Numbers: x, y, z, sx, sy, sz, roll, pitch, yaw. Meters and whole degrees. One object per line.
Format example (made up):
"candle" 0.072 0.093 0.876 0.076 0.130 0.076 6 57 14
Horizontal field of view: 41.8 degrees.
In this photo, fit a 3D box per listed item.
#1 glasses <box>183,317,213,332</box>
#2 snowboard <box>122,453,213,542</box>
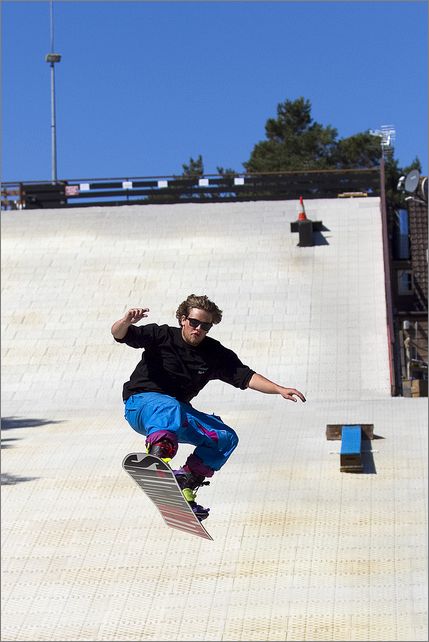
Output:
"glasses" -0.113 0.020 4.369 0.212 0.118 0.164 -5 9 -13
"snowboard" -0.257 1.259 4.282 0.412 1.274 0.190 -6 45 30
